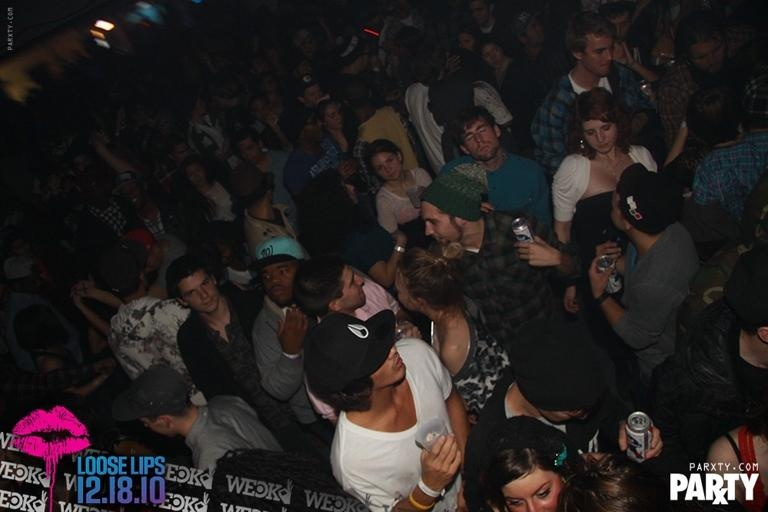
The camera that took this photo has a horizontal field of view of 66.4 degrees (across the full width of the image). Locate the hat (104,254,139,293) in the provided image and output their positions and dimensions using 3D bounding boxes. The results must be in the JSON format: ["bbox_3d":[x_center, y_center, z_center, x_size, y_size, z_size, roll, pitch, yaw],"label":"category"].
[{"bbox_3d":[-2.659,0.162,5.972,0.327,0.452,0.125,-8,-1,17],"label":"hat"}]

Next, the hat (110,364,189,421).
[{"bbox_3d":[-2.003,1.186,4.986,0.612,0.322,0.433,4,16,-8],"label":"hat"}]

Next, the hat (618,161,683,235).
[{"bbox_3d":[2.328,-0.522,5.162,0.507,0.711,0.295,11,-16,-23],"label":"hat"}]

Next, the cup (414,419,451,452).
[{"bbox_3d":[0.361,1.376,4.482,0.245,0.187,0.103,-37,-49,12],"label":"cup"}]
